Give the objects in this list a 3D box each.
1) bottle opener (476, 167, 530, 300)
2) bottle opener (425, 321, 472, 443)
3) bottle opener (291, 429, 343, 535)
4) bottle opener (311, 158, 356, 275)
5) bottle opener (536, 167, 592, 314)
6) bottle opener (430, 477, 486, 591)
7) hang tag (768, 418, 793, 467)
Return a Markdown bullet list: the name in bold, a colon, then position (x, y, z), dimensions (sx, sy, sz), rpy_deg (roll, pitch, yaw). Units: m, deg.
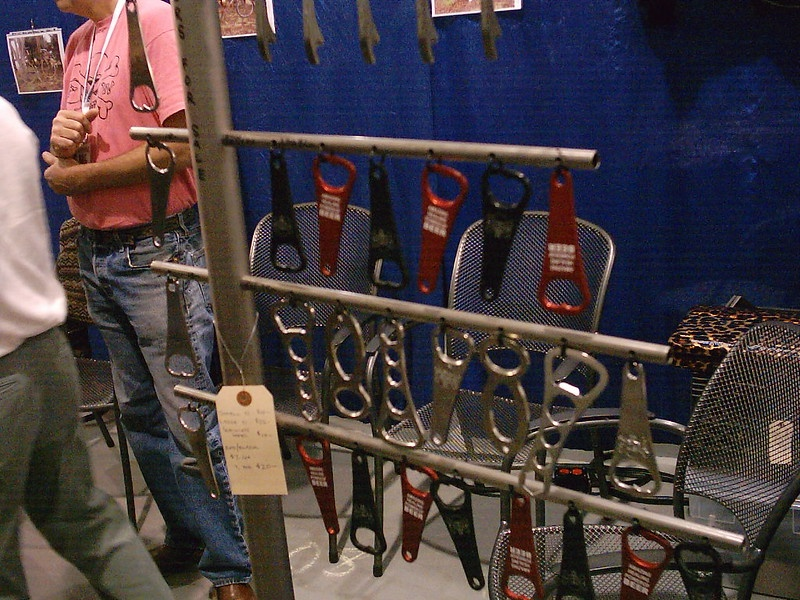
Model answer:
- **bottle opener**: position (0.175, -0.105, 1.246), dimensions (0.081, 0.269, 0.210), rpy_deg (2, 21, 6)
- **bottle opener**: position (0.082, 0.136, 1.224), dimensions (0.070, 0.196, 0.012), rpy_deg (19, 20, 35)
- **bottle opener**: position (-0.141, 0.311, 1.388), dimensions (0.063, 0.258, 0.018), rpy_deg (-3, 21, 31)
- **bottle opener**: position (-0.117, -0.154, 1.354), dimensions (0.072, 0.255, 0.216), rpy_deg (-2, 22, -5)
- **bottle opener**: position (0.277, -0.087, 1.224), dimensions (0.081, 0.284, 0.156), rpy_deg (5, 22, 13)
- **bottle opener**: position (0.112, 0.379, 1.304), dimensions (0.078, 0.238, 0.011), rpy_deg (-14, 10, 26)
- **hang tag**: position (0.774, 0.290, 1.507), dimensions (0.053, 0.099, 0.019), rpy_deg (17, 27, 37)
